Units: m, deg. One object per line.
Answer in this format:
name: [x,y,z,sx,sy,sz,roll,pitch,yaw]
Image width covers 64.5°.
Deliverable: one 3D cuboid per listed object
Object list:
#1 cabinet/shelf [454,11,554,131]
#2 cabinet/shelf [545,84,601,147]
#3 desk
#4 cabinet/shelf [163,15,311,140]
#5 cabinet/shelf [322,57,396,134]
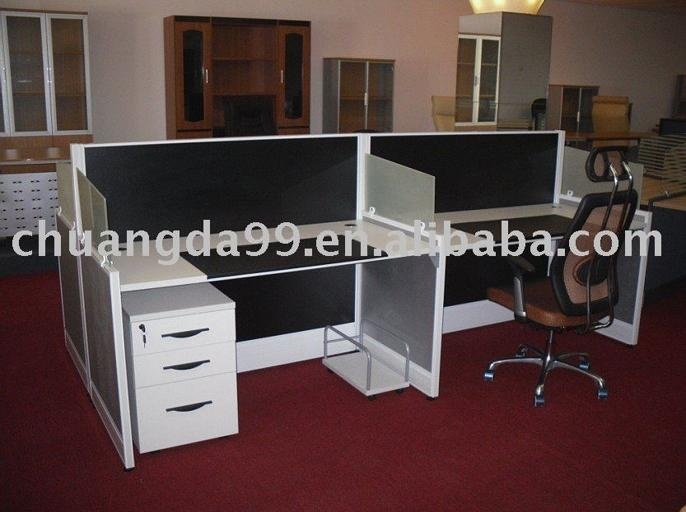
cabinet/shelf: [1.519,-1.754,5.156,0.857,1.049,0.553,2,15,16]
cabinet/shelf: [4.199,-2.463,9.891,0.576,1.165,0.321,6,3,2]
desk: [-0.087,0.046,3.448,3.088,1.613,1.522,-10,17,-26]
cabinet/shelf: [-1.350,-2.313,7.234,1.607,1.681,0.434,-6,22,-20]
cabinet/shelf: [0.236,-2.336,7.893,0.999,1.028,0.419,-1,14,2]
